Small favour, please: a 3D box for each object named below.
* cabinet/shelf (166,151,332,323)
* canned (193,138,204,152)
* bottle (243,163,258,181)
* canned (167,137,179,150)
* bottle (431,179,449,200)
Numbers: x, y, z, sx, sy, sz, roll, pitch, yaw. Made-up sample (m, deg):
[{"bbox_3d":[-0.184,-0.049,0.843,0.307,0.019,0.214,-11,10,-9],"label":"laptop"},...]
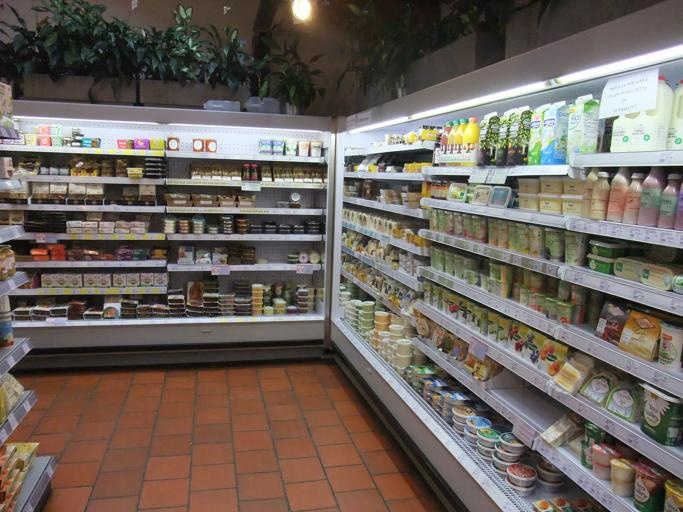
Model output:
[{"bbox_3d":[-1.141,-0.247,5.506,1.936,1.930,0.526,-1,1,-13],"label":"cabinet/shelf"},{"bbox_3d":[-1.607,-1.240,5.240,0.134,0.135,0.044,0,8,-14],"label":"canned"},{"bbox_3d":[-1.074,-0.958,5.395,0.214,0.182,0.121,4,13,9],"label":"bottle"},{"bbox_3d":[-1.887,-1.255,5.250,0.131,0.145,0.206,-2,13,-19],"label":"canned"},{"bbox_3d":[0.732,-0.502,3.532,0.122,0.170,0.173,1,9,-5],"label":"bottle"}]
